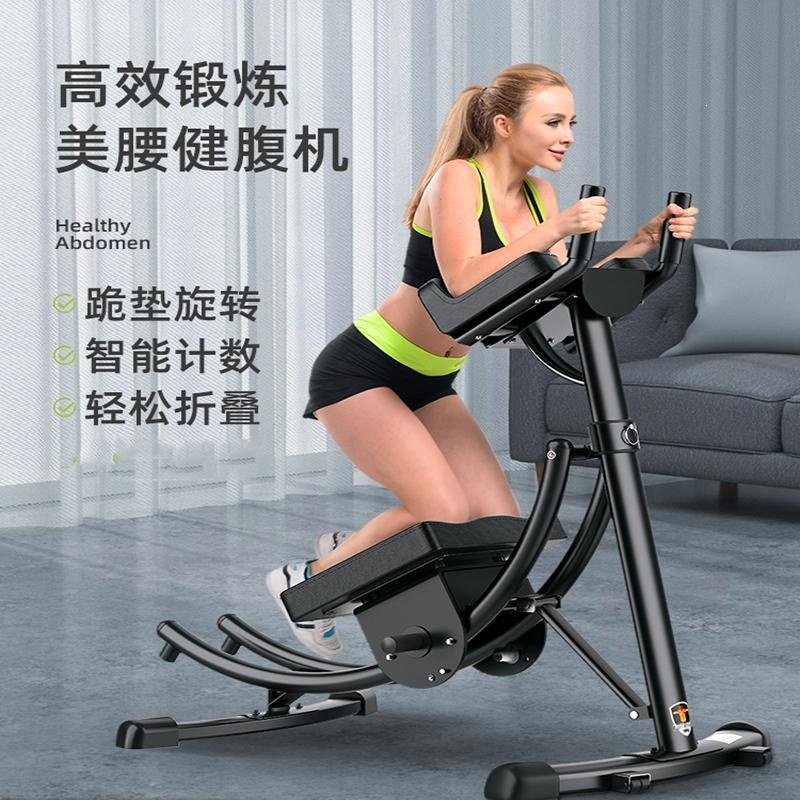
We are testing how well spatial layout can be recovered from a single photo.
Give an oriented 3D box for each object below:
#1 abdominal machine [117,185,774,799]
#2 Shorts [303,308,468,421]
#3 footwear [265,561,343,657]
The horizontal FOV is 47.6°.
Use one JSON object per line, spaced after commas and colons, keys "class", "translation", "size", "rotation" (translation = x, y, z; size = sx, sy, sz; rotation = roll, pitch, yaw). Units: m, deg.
{"class": "abdominal machine", "translation": [0.055, 0.196, 1.554], "size": [1.125, 0.757, 0.737], "rotation": [-5, -8, 34]}
{"class": "Shorts", "translation": [-0.011, -0.050, 1.427], "size": [0.177, 0.138, 0.305], "rotation": [21, 14, 42]}
{"class": "footwear", "translation": [-0.133, 0.341, 1.472], "size": [0.084, 0.107, 0.173], "rotation": [-24, 45, -11]}
